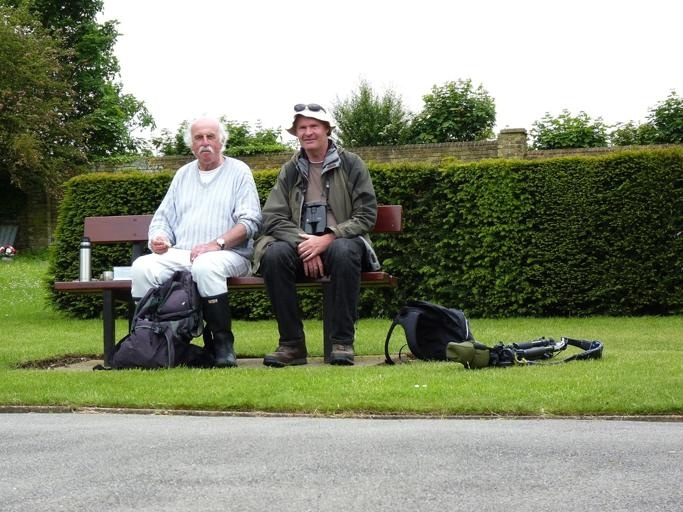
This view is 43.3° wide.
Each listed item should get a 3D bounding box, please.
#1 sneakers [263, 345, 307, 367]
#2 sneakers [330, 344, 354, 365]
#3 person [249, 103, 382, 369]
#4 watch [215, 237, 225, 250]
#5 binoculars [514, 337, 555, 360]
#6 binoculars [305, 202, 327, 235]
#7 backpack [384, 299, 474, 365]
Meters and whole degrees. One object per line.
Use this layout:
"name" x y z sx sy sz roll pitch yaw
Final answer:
"sneakers" -0.407 0.737 6.298 0.328 0.223 0.135 14 -15 -35
"sneakers" 0.003 0.708 6.220 0.169 0.143 0.241 0 -2 -4
"person" -0.200 -0.185 6.486 0.909 1.968 0.563 0 -2 2
"watch" -0.907 -0.092 6.428 0.064 0.087 0.050 0 -2 -8
"binoculars" 1.381 0.658 6.174 0.270 0.151 0.107 -3 -36 -39
"binoculars" -0.200 -0.285 6.529 0.218 0.212 0.071 0 -7 9
"backpack" 0.602 0.555 6.351 0.526 0.389 0.517 0 -5 -3
